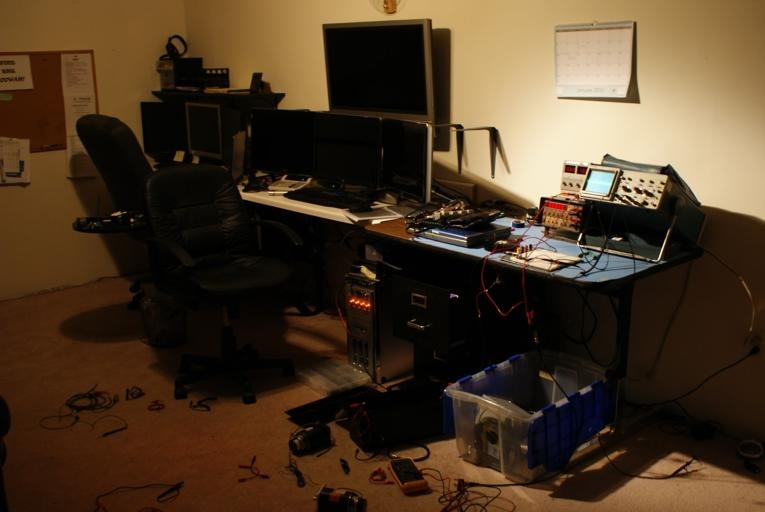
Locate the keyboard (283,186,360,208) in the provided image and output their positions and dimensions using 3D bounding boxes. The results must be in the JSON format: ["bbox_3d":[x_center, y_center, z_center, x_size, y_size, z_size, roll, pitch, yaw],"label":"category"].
[{"bbox_3d":[-0.379,-0.399,4.124,0.304,0.022,0.218,16,25,38],"label":"keyboard"}]

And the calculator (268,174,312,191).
[{"bbox_3d":[-0.702,-0.534,4.521,0.166,0.098,0.240,8,17,39],"label":"calculator"}]

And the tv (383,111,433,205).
[{"bbox_3d":[0.161,-0.631,3.873,0.071,0.510,0.536,-13,21,-35],"label":"tv"}]

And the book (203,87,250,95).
[{"bbox_3d":[-1.262,-1.328,4.923,0.400,0.038,0.299,2,21,-1],"label":"book"}]

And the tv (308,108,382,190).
[{"bbox_3d":[-0.248,-0.735,4.154,0.542,0.424,0.073,12,18,36],"label":"tv"}]

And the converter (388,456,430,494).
[{"bbox_3d":[0.122,1.124,3.114,0.134,0.068,0.226,0,18,-21],"label":"converter"}]

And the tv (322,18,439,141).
[{"bbox_3d":[0.008,-1.166,4.024,0.934,0.562,0.067,12,28,38],"label":"tv"}]

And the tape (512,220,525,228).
[{"bbox_3d":[0.791,-0.193,3.599,0.050,0.020,0.050,-1,13,-2],"label":"tape"}]

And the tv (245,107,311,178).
[{"bbox_3d":[-0.753,-0.817,4.430,0.554,0.488,0.073,5,16,15],"label":"tv"}]

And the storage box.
[{"bbox_3d":[0.826,0.854,3.330,0.833,0.397,0.617,-11,11,-42],"label":"storage box"}]

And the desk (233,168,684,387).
[{"bbox_3d":[0.646,-0.004,3.541,1.912,1.187,0.773,17,25,34],"label":"desk"}]
